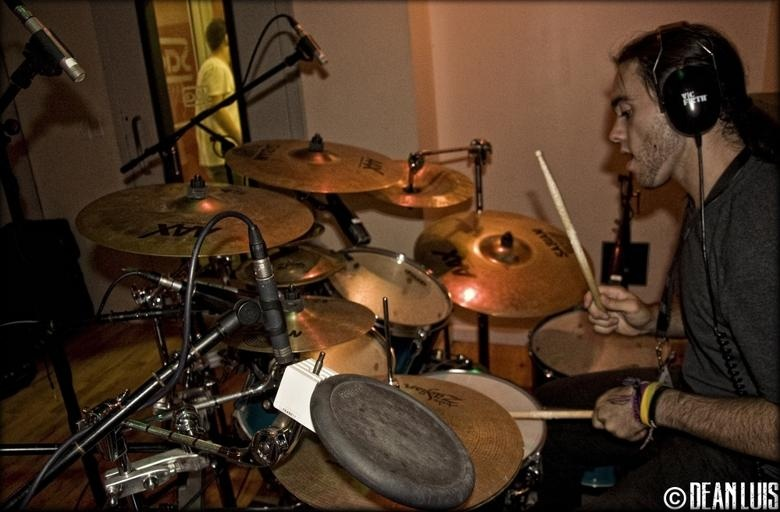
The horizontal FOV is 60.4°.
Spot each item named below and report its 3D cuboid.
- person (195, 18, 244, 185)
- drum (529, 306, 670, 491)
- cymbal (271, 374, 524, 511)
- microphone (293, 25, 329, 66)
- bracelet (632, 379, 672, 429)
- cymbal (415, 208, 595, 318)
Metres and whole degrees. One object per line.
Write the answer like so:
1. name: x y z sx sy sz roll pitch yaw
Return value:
1. person: -1.143 -1.015 4.452 0.260 1.077 0.240 7 23 21
2. drum: 1.216 0.704 3.613 0.788 0.752 0.737 0 40 22
3. cymbal: 0.066 0.773 2.613 0.854 0.331 0.636 -13 23 -31
4. microphone: -0.419 -1.091 3.431 0.135 0.180 0.300 -4 20 -8
5. bracelet: 1.021 0.584 2.662 0.061 0.167 0.154 -2 13 -26
6. cymbal: 0.633 -0.045 3.621 0.919 0.181 0.837 8 48 0
